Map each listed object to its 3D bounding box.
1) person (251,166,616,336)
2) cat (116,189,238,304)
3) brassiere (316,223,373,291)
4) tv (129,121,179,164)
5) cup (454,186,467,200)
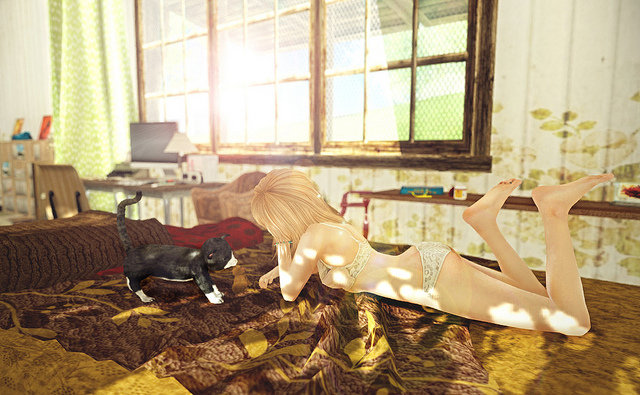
[{"bbox_3d":[0.453,0.280,2.907,2.408,0.957,1.017,2,3,22],"label":"person"},{"bbox_3d":[-0.935,0.330,2.770,0.747,0.687,0.300,3,8,-13],"label":"cat"},{"bbox_3d":[0.130,0.359,2.856,0.341,0.459,0.329,5,7,-6],"label":"brassiere"},{"bbox_3d":[-2.050,-0.679,5.191,0.794,0.516,0.147,1,9,22],"label":"tv"},{"bbox_3d":[1.249,-0.035,3.806,0.117,0.109,0.115,0,0,0],"label":"cup"}]
